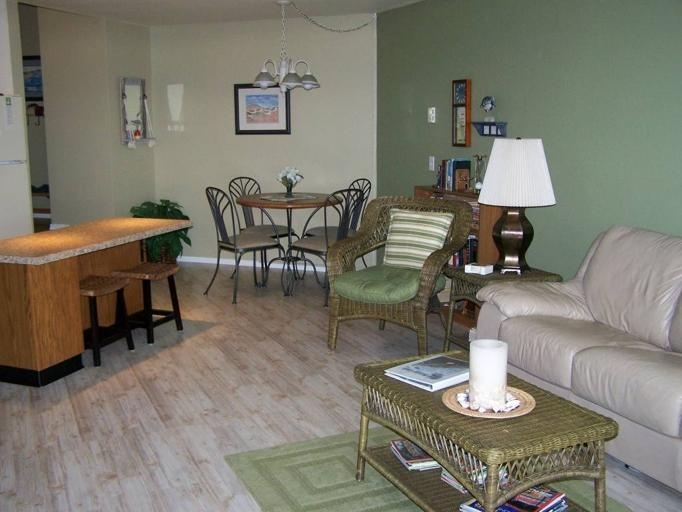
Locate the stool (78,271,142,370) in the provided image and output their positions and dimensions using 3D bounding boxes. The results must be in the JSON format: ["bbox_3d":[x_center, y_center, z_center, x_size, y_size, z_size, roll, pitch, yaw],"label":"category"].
[{"bbox_3d":[-1.773,0.510,3.920,0.441,0.658,0.454,9,20,19],"label":"stool"}]

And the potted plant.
[{"bbox_3d":[-2.251,-0.361,6.585,0.823,0.749,0.836,11,28,9],"label":"potted plant"}]

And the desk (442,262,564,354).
[{"bbox_3d":[1.162,0.365,3.748,0.784,0.827,0.638,-5,11,-19],"label":"desk"}]

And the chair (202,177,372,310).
[{"bbox_3d":[-0.582,-0.283,5.534,1.490,0.966,1.509,6,12,28],"label":"chair"}]

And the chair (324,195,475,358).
[{"bbox_3d":[0.456,0.059,4.196,1.137,1.282,1.173,5,12,28],"label":"chair"}]

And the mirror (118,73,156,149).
[{"bbox_3d":[-2.601,-1.825,6.528,0.156,0.849,0.396,8,15,31],"label":"mirror"}]

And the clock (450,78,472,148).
[{"bbox_3d":[1.146,-1.369,4.933,0.099,0.624,0.351,-4,13,-16],"label":"clock"}]

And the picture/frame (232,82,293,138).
[{"bbox_3d":[-0.927,-1.799,6.260,0.688,0.593,0.052,3,12,11],"label":"picture/frame"}]

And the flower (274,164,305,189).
[{"bbox_3d":[-0.551,-0.793,5.635,0.341,0.245,0.348,-2,28,-7],"label":"flower"}]
